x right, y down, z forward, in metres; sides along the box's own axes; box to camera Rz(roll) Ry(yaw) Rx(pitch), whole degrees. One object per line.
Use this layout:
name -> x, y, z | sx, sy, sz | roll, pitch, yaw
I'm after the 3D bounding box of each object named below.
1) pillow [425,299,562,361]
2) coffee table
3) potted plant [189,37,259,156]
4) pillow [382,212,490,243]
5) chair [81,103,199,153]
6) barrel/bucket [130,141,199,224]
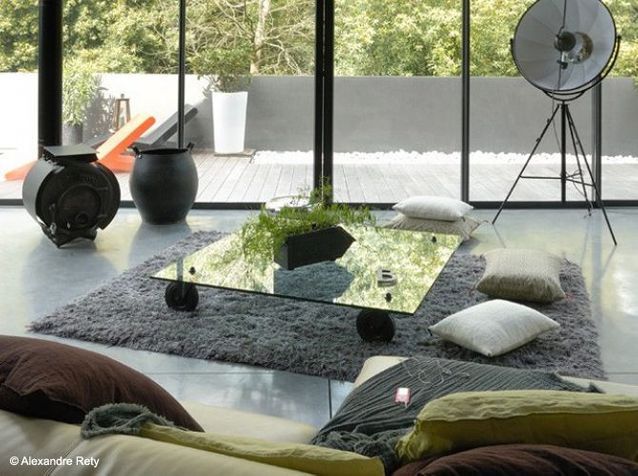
pillow -> 1.038, 0.510, 2.770 | 0.688, 0.218, 0.348 | 1, 15, -17
coffee table -> -0.140, 0.531, 3.545 | 1.798, 0.388, 1.733 | 8, -6, 26
potted plant -> -1.185, -1.945, 6.424 | 0.736, 1.302, 0.872 | 7, 24, 23
pillow -> 1.161, -0.122, 4.848 | 0.633, 0.150, 0.429 | 6, 20, 15
chair -> -2.085, -1.469, 6.390 | 1.808, 0.657, 0.545 | -2, 20, -11
barrel/bucket -> -1.798, -0.646, 5.599 | 0.720, 0.842, 0.711 | 2, 12, 0
